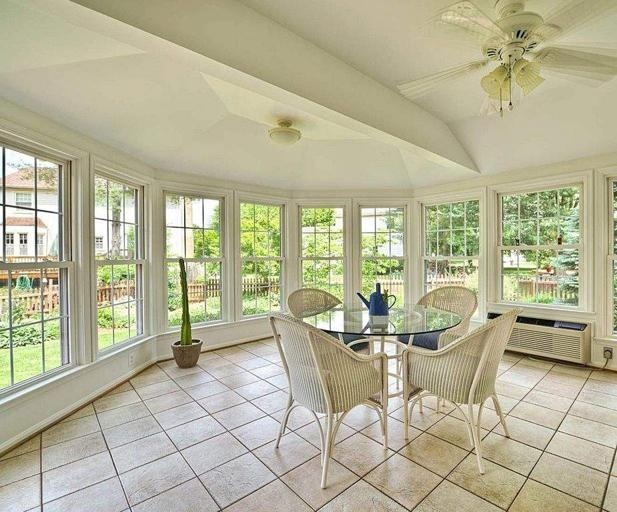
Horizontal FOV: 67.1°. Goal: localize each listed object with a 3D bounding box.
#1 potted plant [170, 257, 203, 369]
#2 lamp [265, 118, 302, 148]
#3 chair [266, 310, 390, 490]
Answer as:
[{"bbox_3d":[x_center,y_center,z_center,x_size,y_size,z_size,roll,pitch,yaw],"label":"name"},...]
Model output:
[{"bbox_3d":[-1.294,0.584,4.908,0.297,1.119,0.492,-4,3,-13],"label":"potted plant"},{"bbox_3d":[-0.194,-1.111,4.166,0.304,0.186,0.288,1,2,11],"label":"lamp"},{"bbox_3d":[0.166,0.939,3.222,0.826,1.113,0.483,-3,3,-5],"label":"chair"}]
